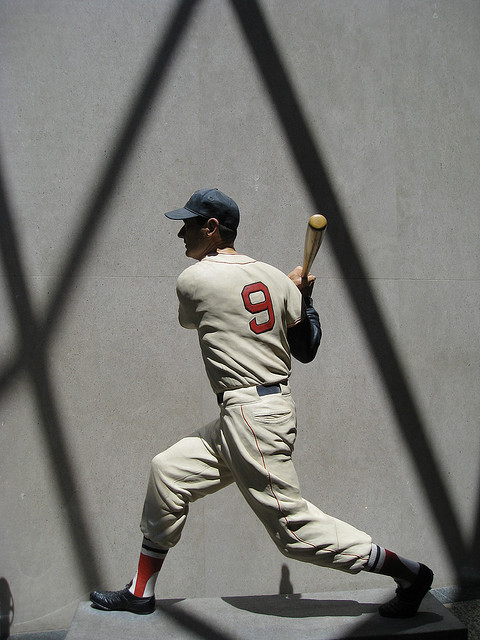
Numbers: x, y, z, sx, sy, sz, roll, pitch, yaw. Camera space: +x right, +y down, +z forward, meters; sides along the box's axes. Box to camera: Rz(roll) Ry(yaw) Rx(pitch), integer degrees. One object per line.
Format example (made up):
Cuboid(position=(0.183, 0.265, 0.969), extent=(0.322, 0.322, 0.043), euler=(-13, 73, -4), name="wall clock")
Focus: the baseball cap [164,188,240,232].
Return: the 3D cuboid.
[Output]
Cuboid(position=(-0.128, -0.436, 3.967), extent=(0.235, 0.128, 0.157), euler=(11, 18, -4), name="baseball cap")
